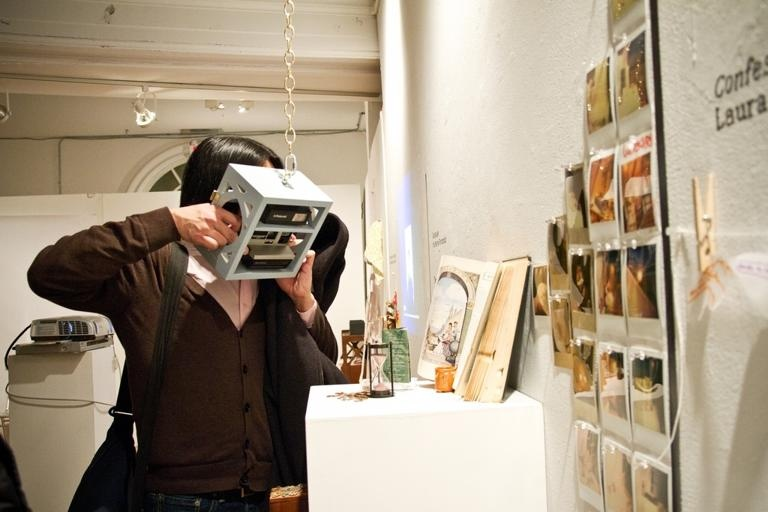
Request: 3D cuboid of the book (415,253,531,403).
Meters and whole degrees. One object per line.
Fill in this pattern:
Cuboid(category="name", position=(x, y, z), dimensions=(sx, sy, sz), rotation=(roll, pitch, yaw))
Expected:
Cuboid(category="book", position=(0.312, 0.250, 2.001), dimensions=(0.071, 0.492, 0.530), rotation=(15, -6, -20))

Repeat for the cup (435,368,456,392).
Cuboid(category="cup", position=(0.207, 0.418, 2.002), dimensions=(0.072, 0.077, 0.074), rotation=(1, -10, 0))
